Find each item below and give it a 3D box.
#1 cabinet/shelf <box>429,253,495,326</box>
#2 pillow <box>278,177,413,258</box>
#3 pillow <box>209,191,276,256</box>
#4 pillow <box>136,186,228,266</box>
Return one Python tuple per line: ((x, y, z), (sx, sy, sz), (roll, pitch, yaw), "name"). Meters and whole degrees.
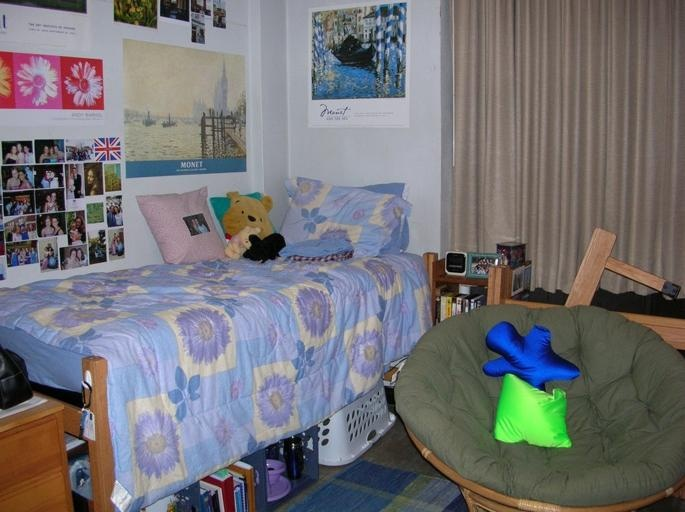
((0.735, 0.198, 3.303), (0.417, 0.638, 0.319), (1, 3, 22), "cabinet/shelf")
((-0.011, -0.243, 3.457), (0.888, 0.477, 0.829), (1, 12, 6), "pillow")
((-0.665, -0.199, 3.629), (0.385, 0.453, 0.287), (-1, -12, -29), "pillow")
((-1.012, -0.188, 3.312), (0.168, 0.589, 0.616), (-15, 4, 23), "pillow")
